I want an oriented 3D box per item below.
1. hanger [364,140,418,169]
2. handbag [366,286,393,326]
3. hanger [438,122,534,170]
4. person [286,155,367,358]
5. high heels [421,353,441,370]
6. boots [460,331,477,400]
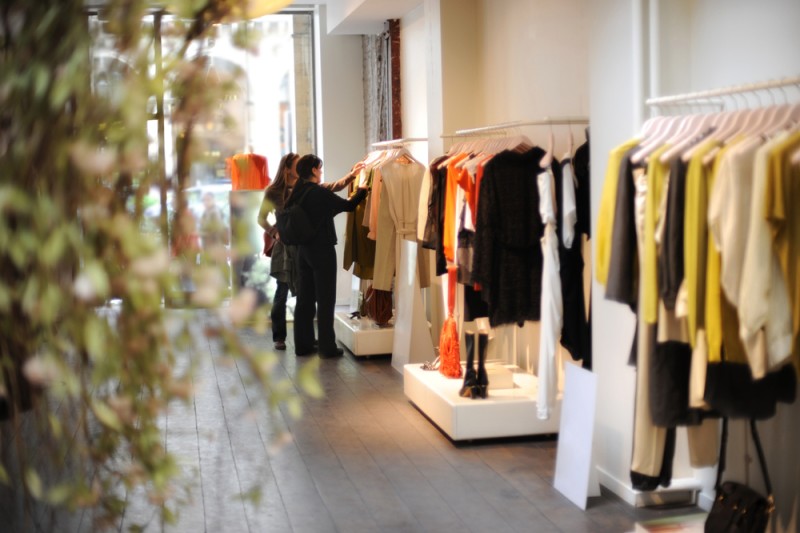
[{"bbox_3d":[-0.115,-1.059,6.436,0.369,0.193,0.502,-10,9,-28],"label":"hanger"},{"bbox_3d":[-0.202,0.405,7.013,0.254,0.375,0.227,-1,5,-8],"label":"handbag"},{"bbox_3d":[0.637,-0.846,5.001,0.289,0.359,0.956,-7,8,-22],"label":"hanger"},{"bbox_3d":[-0.721,-0.034,6.385,0.637,1.967,0.859,-1,5,-5],"label":"person"},{"bbox_3d":[0.251,0.769,5.542,0.116,0.151,0.364,0,-12,-1],"label":"high heels"},{"bbox_3d":[0.457,0.641,4.575,0.103,0.404,0.260,0,5,7],"label":"boots"}]
